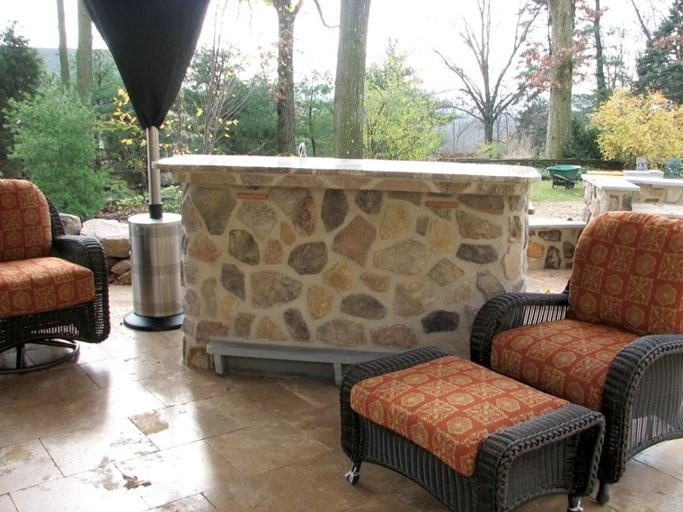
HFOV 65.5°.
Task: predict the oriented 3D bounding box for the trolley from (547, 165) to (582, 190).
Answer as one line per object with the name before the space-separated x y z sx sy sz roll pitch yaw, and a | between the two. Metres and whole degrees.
trolley | 5.116 -1.827 11.999 0.794 0.576 0.783 -13 19 -31
